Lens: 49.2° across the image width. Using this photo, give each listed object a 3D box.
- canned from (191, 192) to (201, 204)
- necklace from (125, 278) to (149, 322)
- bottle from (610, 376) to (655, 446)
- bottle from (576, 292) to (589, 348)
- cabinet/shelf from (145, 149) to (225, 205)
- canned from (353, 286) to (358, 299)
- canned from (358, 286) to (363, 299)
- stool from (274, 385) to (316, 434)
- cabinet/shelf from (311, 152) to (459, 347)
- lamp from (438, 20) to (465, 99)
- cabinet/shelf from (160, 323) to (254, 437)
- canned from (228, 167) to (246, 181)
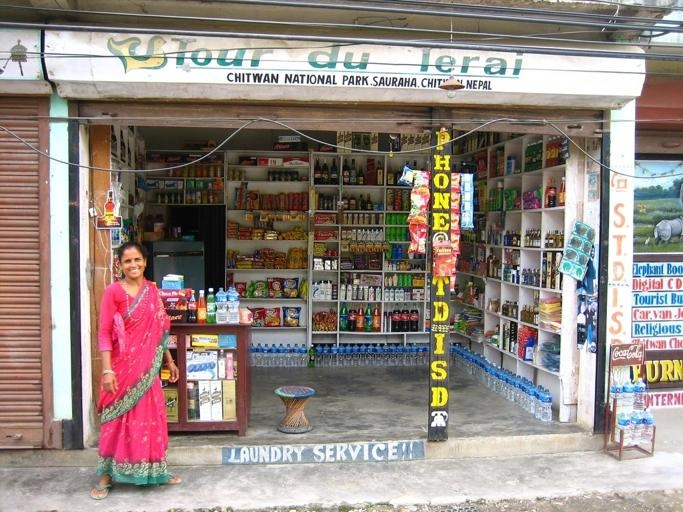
[{"bbox_3d":[-2.139,-0.858,10.946,0.152,0.124,0.055,-3,2,-7],"label":"canned"},{"bbox_3d":[-1.908,0.421,7.084,0.120,0.286,0.299,-2,3,40],"label":"necklace"},{"bbox_3d":[3.137,1.730,8.080,0.446,0.759,0.363,-3,2,7],"label":"bottle"},{"bbox_3d":[2.692,0.713,8.330,0.053,0.557,0.147,-4,2,-18],"label":"bottle"},{"bbox_3d":[-2.324,-1.221,10.976,1.132,0.708,0.351,0,18,-8],"label":"cabinet/shelf"},{"bbox_3d":[0.212,0.545,11.004,0.102,0.196,0.044,-4,2,-30],"label":"canned"},{"bbox_3d":[0.292,0.546,10.995,0.088,0.196,0.042,-3,2,-1],"label":"canned"},{"bbox_3d":[-0.512,1.709,8.260,0.430,0.428,0.449,-1,4,-2],"label":"stool"},{"bbox_3d":[0.417,-0.117,11.122,1.711,2.766,0.483,-3,2,-1],"label":"cabinet/shelf"},{"bbox_3d":[1.106,-2.081,7.572,0.240,0.919,1.080,-3,2,9],"label":"lamp"},{"bbox_3d":[-1.462,1.318,7.954,1.346,1.235,0.794,0,5,-2],"label":"cabinet/shelf"},{"bbox_3d":[-1.565,-1.224,11.098,0.212,0.176,0.097,0,-4,-10],"label":"canned"}]
